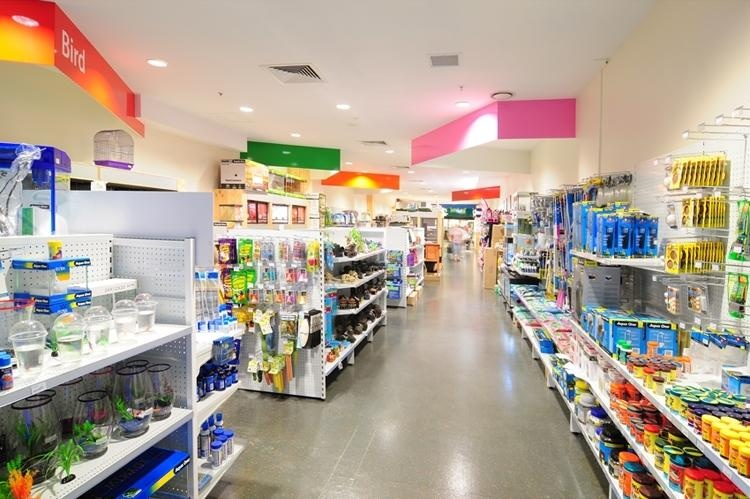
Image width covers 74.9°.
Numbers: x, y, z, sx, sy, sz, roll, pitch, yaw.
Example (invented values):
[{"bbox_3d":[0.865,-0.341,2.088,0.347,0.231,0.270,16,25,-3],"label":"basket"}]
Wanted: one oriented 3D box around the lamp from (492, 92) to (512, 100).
[{"bbox_3d":[1.743,-2.103,6.692,0.281,0.066,0.355,3,11,13],"label":"lamp"}]
